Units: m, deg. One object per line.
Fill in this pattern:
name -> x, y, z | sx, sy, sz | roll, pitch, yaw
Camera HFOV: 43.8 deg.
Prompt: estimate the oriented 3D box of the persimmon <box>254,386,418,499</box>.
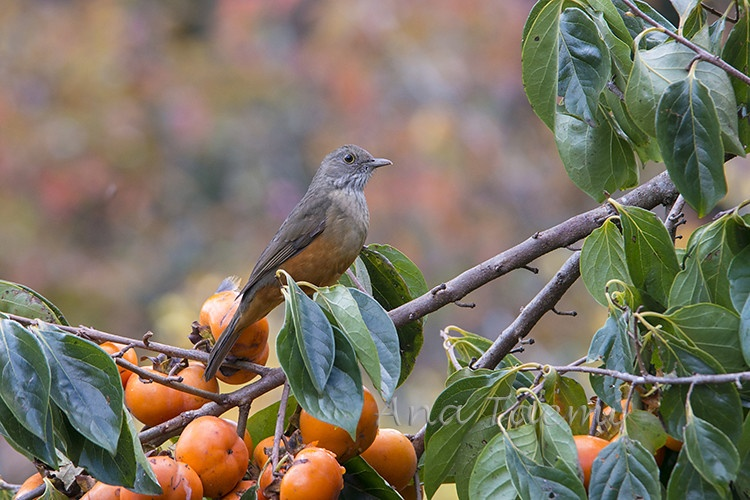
persimmon -> -0.122, 0.650, 3.317 | 0.453, 0.202, 0.403 | -12, -67, -23
